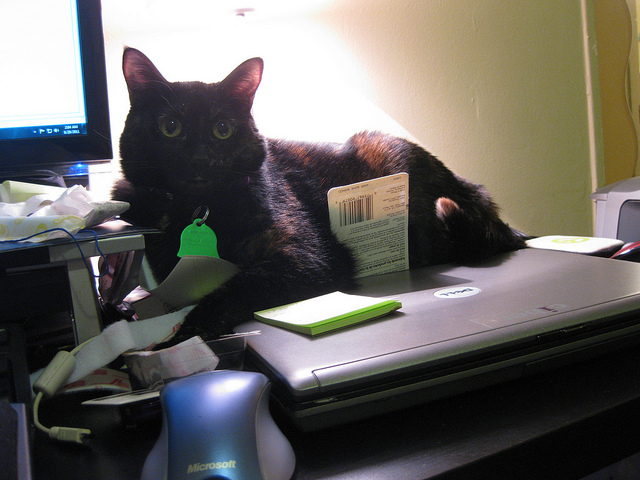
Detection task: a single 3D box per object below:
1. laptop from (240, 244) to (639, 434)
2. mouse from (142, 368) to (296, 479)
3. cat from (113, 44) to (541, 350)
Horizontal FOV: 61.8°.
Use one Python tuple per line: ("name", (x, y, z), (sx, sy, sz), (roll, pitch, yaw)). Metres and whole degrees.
("laptop", (0.180, 0.117, 0.834), (0.602, 0.118, 0.393), (-7, 10, -15))
("mouse", (-0.126, 0.204, 0.593), (0.150, 0.084, 0.185), (-10, 11, -30))
("cat", (0.068, -0.086, 1.122), (0.999, 0.450, 0.343), (-8, -12, -36))
